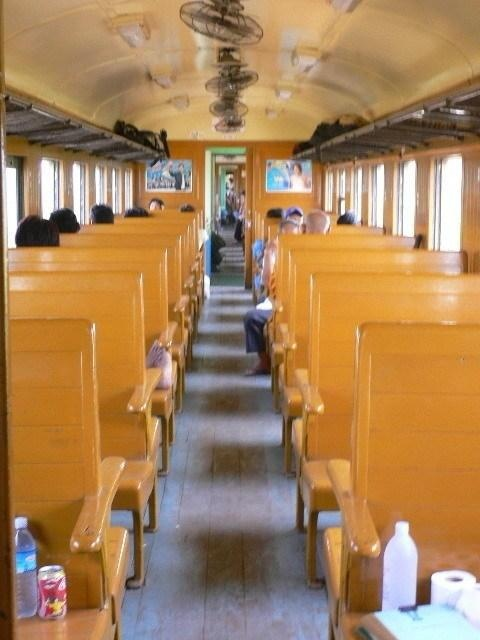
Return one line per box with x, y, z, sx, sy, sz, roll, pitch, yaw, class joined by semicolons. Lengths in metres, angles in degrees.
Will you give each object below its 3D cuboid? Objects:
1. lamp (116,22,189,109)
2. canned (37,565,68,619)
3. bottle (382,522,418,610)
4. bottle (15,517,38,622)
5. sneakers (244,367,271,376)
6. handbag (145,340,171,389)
-1.361;-4.298;8.660;0.325;0.808;1.501;11;-29;37;lamp
-0.567;0.821;1.608;0.081;0.175;0.100;-2;7;-21;canned
0.476;0.736;1.594;0.094;0.271;0.054;2;7;16;bottle
-0.660;0.752;1.651;0.059;0.289;0.158;-3;7;-25;bottle
0.235;0.679;7.135;0.329;0.184;0.127;4;-3;-7;sneakers
-0.568;0.331;3.953;0.252;0.322;0.114;7;11;37;handbag
